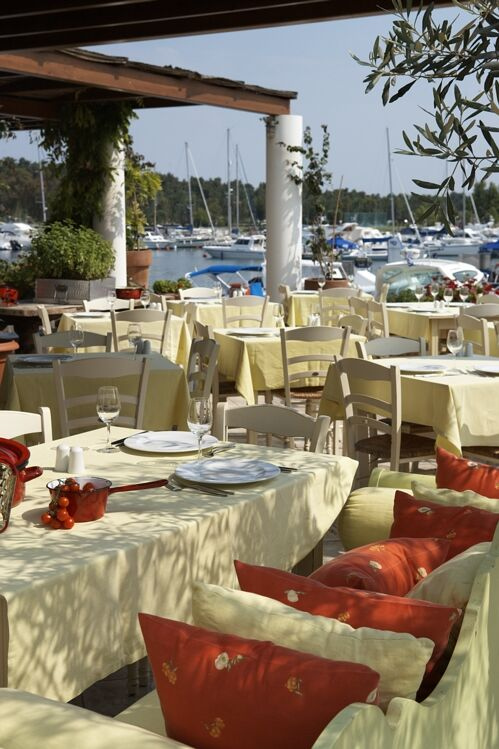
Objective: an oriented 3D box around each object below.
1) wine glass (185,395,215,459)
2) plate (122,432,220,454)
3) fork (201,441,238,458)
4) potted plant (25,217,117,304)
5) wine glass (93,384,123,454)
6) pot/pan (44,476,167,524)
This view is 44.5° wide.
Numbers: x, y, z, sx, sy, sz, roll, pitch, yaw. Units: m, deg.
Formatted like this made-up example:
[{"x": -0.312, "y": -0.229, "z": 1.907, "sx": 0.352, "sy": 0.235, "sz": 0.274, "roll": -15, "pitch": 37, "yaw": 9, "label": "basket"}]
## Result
[{"x": -0.147, "y": 0.172, "z": 1.864, "sx": 0.077, "sy": 0.232, "sz": 0.069, "roll": -9, "pitch": 25, "yaw": -31, "label": "wine glass"}, {"x": -0.288, "y": 0.208, "z": 2.124, "sx": 0.248, "sy": 0.083, "sz": 0.203, "roll": -2, "pitch": 10, "yaw": -41, "label": "plate"}, {"x": -0.100, "y": 0.239, "z": 2.078, "sx": 0.033, "sy": 0.031, "sz": 0.235, "roll": 9, "pitch": 8, "yaw": 17, "label": "fork"}, {"x": -2.926, "y": -1.823, "z": 10.122, "sx": 1.323, "sy": 1.281, "sz": 1.265, "roll": -1, "pitch": 18, "yaw": -15, "label": "potted plant"}, {"x": -0.453, "y": 0.145, "z": 1.979, "sx": 0.098, "sy": 0.203, "sz": 0.103, "roll": -1, "pitch": 4, "yaw": 1, "label": "wine glass"}, {"x": -0.367, "y": 0.290, "z": 1.475, "sx": 0.202, "sy": 0.067, "sz": 0.105, "roll": 2, "pitch": 3, "yaw": -21, "label": "pot/pan"}]
